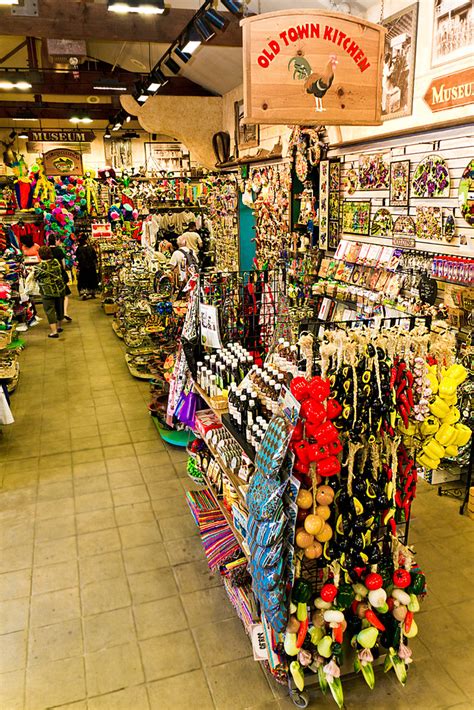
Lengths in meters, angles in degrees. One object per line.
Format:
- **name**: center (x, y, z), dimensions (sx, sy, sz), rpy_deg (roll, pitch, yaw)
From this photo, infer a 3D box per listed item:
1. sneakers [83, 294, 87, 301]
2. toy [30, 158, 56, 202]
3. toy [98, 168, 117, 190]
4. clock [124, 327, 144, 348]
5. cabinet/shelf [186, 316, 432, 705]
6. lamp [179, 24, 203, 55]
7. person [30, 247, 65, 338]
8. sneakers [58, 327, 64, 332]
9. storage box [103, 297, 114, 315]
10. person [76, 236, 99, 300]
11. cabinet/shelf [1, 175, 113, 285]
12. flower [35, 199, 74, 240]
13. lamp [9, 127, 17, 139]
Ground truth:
- **sneakers**: center (-4.266, -1.604, 12.931), dimensions (0.138, 0.162, 0.138), rpy_deg (1, 8, -20)
- **toy**: center (-5.416, -4.854, 12.886), dimensions (0.704, 1.129, 0.588), rpy_deg (-5, 51, -23)
- **toy**: center (-3.325, -4.575, 11.959), dimensions (0.490, 0.498, 0.300), rpy_deg (1, 11, 16)
- **clock**: center (-1.524, -0.249, 6.923), dimensions (0.288, 0.300, 0.098), rpy_deg (23, 17, 20)
- **cabinet/shelf**: center (0.283, 0.653, 1.802), dimensions (0.462, 1.133, 1.106), rpy_deg (3, 56, -26)
- **lamp**: center (-0.417, -3.118, 4.560), dimensions (0.055, 0.214, 0.227), rpy_deg (35, -5, -35)
- **person**: center (-3.501, -1.149, 8.680), dimensions (0.474, 1.705, 0.856), rpy_deg (-6, 11, -21)
- **sneakers**: center (-3.565, -0.511, 9.316), dimensions (0.038, 0.114, 0.111), rpy_deg (-1, 3, 16)
- **storage box**: center (-3.017, -1.149, 10.888), dimensions (0.189, 0.249, 0.361), rpy_deg (-14, 27, -9)
- **person**: center (-4.126, -2.420, 12.667), dimensions (0.535, 1.757, 0.614), rpy_deg (-6, 11, -20)
- **cabinet/shelf**: center (-5.371, -4.133, 13.904), dimensions (3.008, 3.188, 1.598), rpy_deg (1, 2, -12)
- **flower**: center (-5.020, -3.708, 12.758), dimensions (0.940, 1.069, 0.651), rpy_deg (-3, 11, -5)
- **lamp**: center (-7.348, -7.235, 15.074), dimensions (0.220, 0.319, 0.599), rpy_deg (-8, 13, -28)
